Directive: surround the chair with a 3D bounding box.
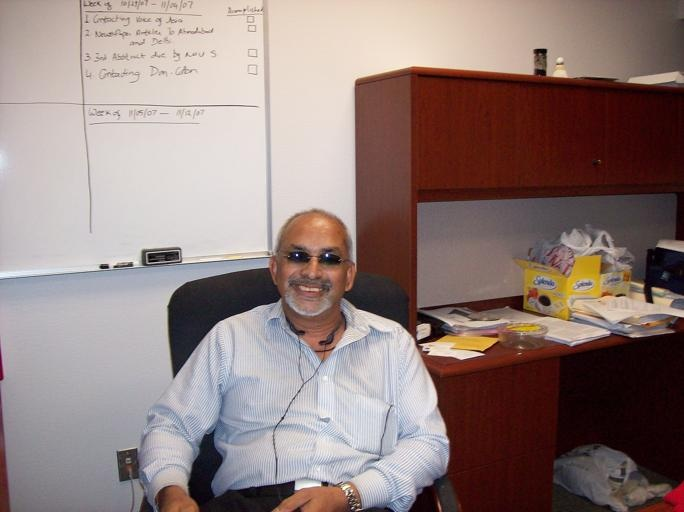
[{"bbox_3d":[-0.185,0.406,2.261,0.898,1.328,0.932,-1,0,-20],"label":"chair"}]

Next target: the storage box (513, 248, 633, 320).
[{"bbox_3d":[1.175,0.145,2.669,0.477,0.307,0.370,-5,8,-36],"label":"storage box"}]
